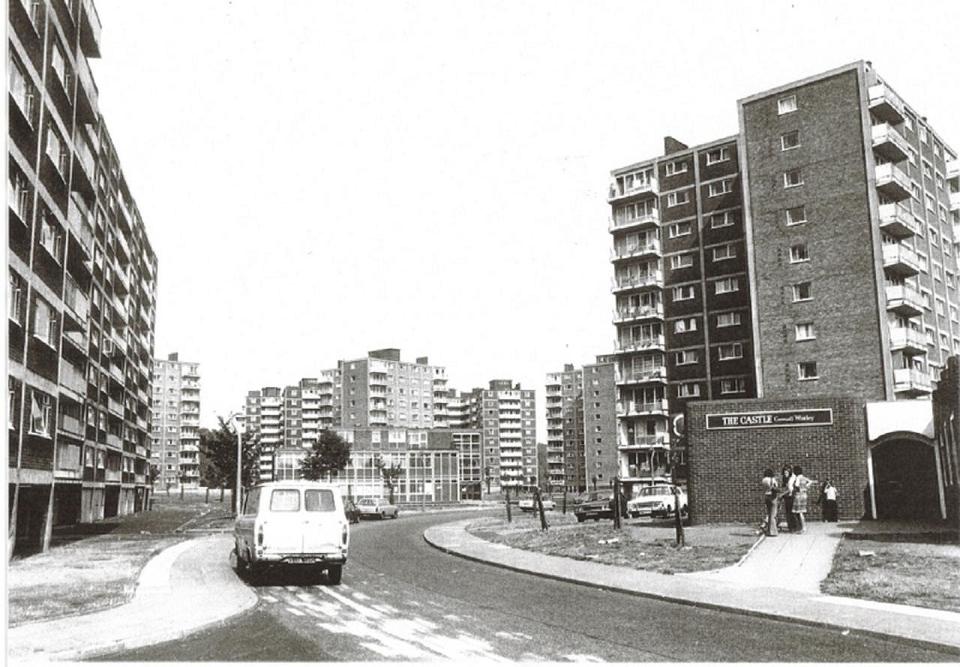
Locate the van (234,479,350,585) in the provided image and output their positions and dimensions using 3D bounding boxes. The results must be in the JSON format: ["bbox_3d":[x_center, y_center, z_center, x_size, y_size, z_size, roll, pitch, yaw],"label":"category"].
[{"bbox_3d":[-5.492,5.706,24.799,3.375,2.986,2.049,-9,-15,26],"label":"van"}]

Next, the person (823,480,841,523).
[{"bbox_3d":[12.945,6.181,31.859,0.516,1.512,1.051,-7,-15,21],"label":"person"}]

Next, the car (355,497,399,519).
[{"bbox_3d":[-7.015,11.796,58.251,2.773,1.692,3.549,0,-15,-9],"label":"car"}]
